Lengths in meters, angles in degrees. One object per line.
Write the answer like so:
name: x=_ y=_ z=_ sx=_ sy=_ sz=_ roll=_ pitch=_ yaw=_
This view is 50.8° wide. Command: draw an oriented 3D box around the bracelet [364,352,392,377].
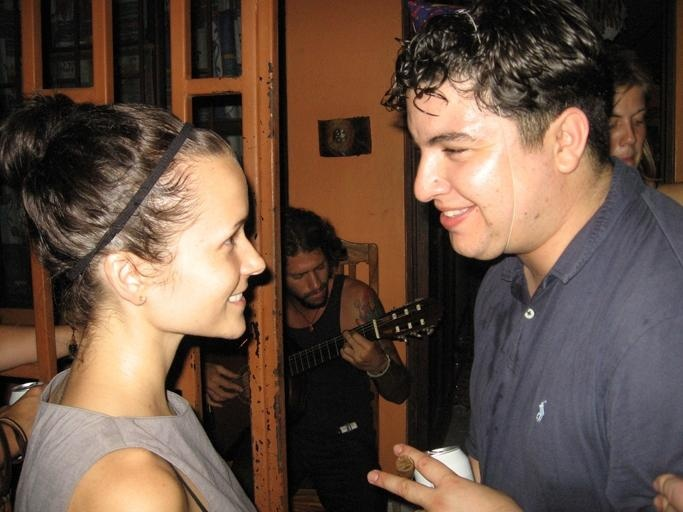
bracelet: x=0.209 y=0.606 z=4.018 sx=0.119 sy=0.052 sz=0.141 roll=-38 pitch=-15 yaw=8

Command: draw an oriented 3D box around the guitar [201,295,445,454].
guitar: x=-0.226 y=0.605 z=3.820 sx=1.488 sy=0.685 sz=0.228 roll=-23 pitch=-22 yaw=17

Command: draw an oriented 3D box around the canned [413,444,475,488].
canned: x=0.340 y=0.701 z=2.411 sx=0.145 sy=0.163 sz=0.113 roll=-1 pitch=-7 yaw=2
